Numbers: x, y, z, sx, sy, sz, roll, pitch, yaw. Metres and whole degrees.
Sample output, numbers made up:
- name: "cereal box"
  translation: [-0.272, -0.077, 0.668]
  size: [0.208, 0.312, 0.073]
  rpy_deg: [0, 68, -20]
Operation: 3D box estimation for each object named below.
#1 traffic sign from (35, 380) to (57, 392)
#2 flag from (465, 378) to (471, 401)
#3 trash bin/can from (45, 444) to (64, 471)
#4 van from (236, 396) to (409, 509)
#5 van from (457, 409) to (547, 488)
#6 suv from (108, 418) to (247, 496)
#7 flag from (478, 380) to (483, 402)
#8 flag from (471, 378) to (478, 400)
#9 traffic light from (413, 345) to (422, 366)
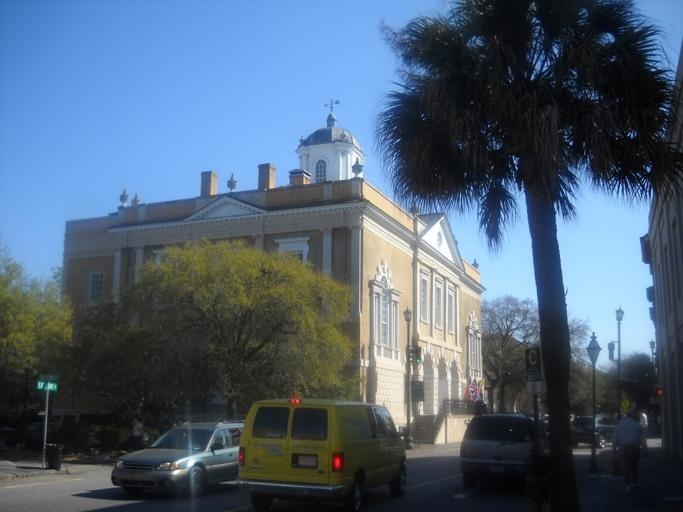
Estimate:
- name: "traffic sign"
  translation: [-9.820, 4.292, 26.004]
  size: [0.359, 0.497, 0.722]
  rpy_deg: [-4, -12, 18]
- name: "flag"
  translation: [10.084, 10.736, 62.463]
  size: [0.231, 1.065, 0.974]
  rpy_deg: [3, -2, -3]
- name: "trash bin/can"
  translation: [-9.707, 6.745, 26.424]
  size: [0.622, 1.251, 0.740]
  rpy_deg: [-1, -9, -8]
- name: "van"
  translation: [-0.124, 4.579, 18.928]
  size: [1.987, 1.941, 4.040]
  rpy_deg: [-5, -11, 26]
- name: "van"
  translation: [4.278, 5.353, 21.616]
  size: [1.488, 1.643, 3.027]
  rpy_deg: [-3, -9, 20]
- name: "suv"
  translation: [-4.177, 5.195, 20.621]
  size: [1.617, 1.488, 3.964]
  rpy_deg: [-7, -20, 17]
- name: "flag"
  translation: [11.816, 11.278, 66.704]
  size: [0.189, 1.717, 2.625]
  rpy_deg: [-4, -15, 17]
- name: "flag"
  translation: [10.844, 10.889, 64.083]
  size: [0.187, 2.160, 0.793]
  rpy_deg: [-17, 28, -20]
- name: "traffic light"
  translation: [3.583, 4.682, 37.208]
  size: [0.507, 0.883, 0.285]
  rpy_deg: [3, -8, 14]
